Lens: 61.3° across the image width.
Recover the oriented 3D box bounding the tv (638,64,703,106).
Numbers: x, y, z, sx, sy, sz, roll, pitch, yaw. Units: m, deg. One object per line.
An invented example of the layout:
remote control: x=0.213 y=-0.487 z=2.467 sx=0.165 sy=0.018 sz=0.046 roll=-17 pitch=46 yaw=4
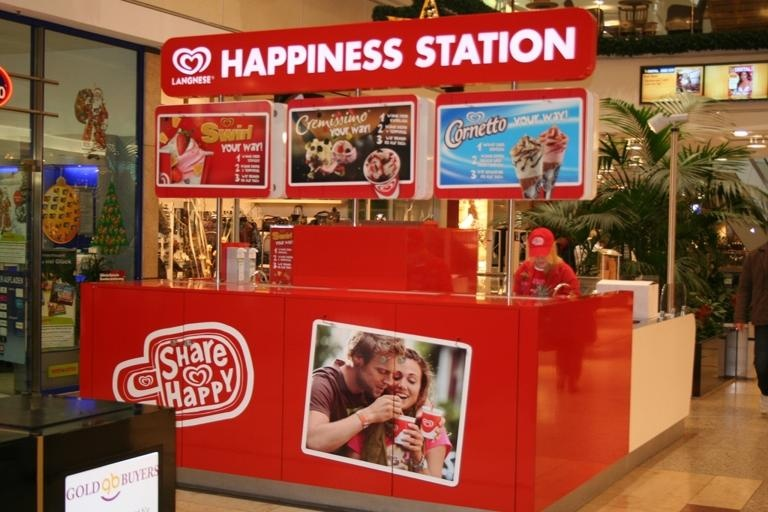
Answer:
tv: x=5.716 y=-3.435 z=12.866 sx=1.224 sy=0.770 sz=0.360 roll=-1 pitch=3 yaw=7

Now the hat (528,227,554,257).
hat: x=1.280 y=-0.106 z=5.246 sx=0.168 sy=0.128 sz=0.253 roll=0 pitch=28 yaw=24

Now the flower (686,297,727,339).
flower: x=4.067 y=0.799 z=8.204 sx=0.502 sy=0.447 sz=0.516 roll=13 pitch=11 yaw=21

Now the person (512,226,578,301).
person: x=1.469 y=0.064 z=5.753 sx=0.659 sy=0.937 sz=0.514 roll=3 pitch=3 yaw=37

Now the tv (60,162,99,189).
tv: x=-3.531 y=-0.942 z=7.625 sx=0.029 sy=0.274 sz=0.512 roll=1 pitch=4 yaw=26
